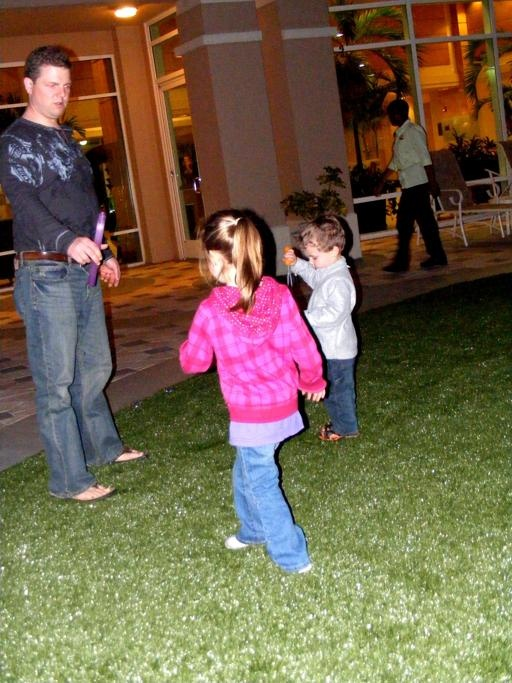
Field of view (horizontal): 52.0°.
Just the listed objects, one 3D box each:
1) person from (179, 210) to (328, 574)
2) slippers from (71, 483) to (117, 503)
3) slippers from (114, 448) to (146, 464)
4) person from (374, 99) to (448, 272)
[{"bbox_3d":[0.012,0.157,1.648,0.453,1.110,0.315,-8,9,-6],"label":"person"},{"bbox_3d":[-0.686,0.650,2.251,0.180,0.048,0.068,-3,8,-5],"label":"slippers"},{"bbox_3d":[-0.629,0.576,2.634,0.150,0.052,0.060,-2,8,-18],"label":"slippers"},{"bbox_3d":[2.011,-2.020,6.907,0.704,2.175,0.446,-8,9,-8],"label":"person"}]
